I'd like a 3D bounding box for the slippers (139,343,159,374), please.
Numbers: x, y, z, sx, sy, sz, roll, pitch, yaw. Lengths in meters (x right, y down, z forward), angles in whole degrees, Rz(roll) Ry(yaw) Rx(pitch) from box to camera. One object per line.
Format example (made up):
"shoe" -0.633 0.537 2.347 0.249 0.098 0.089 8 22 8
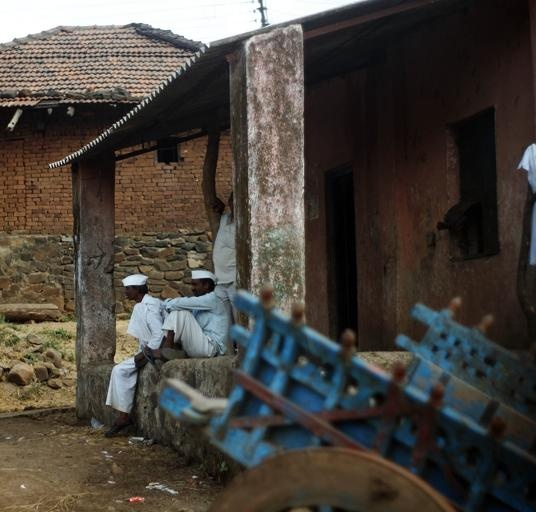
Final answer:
"slippers" -1.134 0.977 7.424 0.107 0.328 0.136 -26 1 34

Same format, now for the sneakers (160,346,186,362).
"sneakers" -0.911 0.926 7.300 0.193 0.086 0.118 11 -4 -9

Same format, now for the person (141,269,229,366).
"person" -0.737 0.611 7.688 1.040 0.927 0.489 1 -2 -39

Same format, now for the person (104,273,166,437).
"person" -1.476 1.118 8.402 0.768 1.822 0.810 7 -26 -12

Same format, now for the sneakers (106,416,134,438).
"sneakers" -1.477 1.718 7.749 0.125 0.141 0.340 -1 20 45

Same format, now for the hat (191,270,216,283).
"hat" -0.655 0.201 7.861 0.174 0.075 0.135 3 -7 -8
